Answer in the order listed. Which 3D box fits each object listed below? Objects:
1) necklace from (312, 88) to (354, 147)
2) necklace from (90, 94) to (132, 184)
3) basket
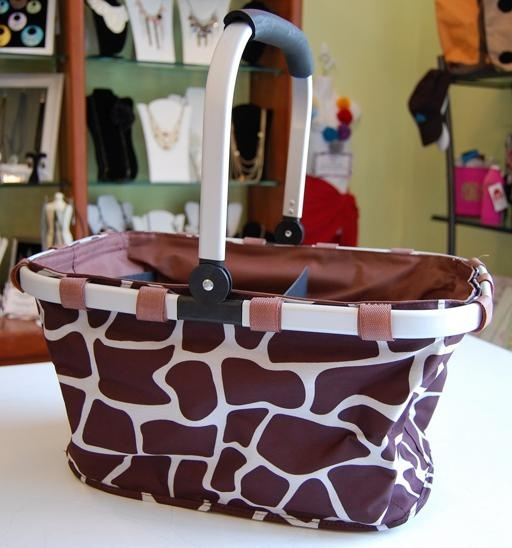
[{"bbox_3d":[0.276,-0.546,2.449,0.144,0.217,0.083,-23,3,-9],"label":"necklace"},{"bbox_3d":[-0.465,-0.435,2.146,0.051,0.274,0.157,10,11,41],"label":"necklace"},{"bbox_3d":[0.013,-0.037,0.902,0.585,0.575,0.476,7,9,19],"label":"basket"}]
